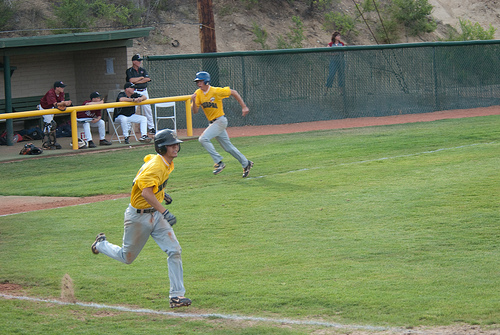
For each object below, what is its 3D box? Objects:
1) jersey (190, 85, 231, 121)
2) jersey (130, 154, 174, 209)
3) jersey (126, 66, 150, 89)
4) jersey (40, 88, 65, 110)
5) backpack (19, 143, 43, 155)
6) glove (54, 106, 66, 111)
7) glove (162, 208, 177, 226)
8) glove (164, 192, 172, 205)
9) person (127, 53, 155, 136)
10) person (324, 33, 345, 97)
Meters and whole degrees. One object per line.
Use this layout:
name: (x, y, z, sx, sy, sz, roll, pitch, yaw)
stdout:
jersey: (-1.006, -1.673, 26.141, 1.026, 0.698, 0.478, -3, 2, -2)
jersey: (-2.063, 0.299, 20.840, 0.830, 1.166, 1.352, 8, 14, -3)
jersey: (-3.537, -2.826, 31.745, 0.866, 0.723, 0.494, -13, 17, -36)
jersey: (-5.977, -2.073, 30.455, 0.697, 0.541, 0.611, -3, 2, -2)
backpack: (-6.438, -0.554, 29.915, 0.414, 0.193, 0.466, -4, 6, -39)
glove: (-5.609, -1.753, 30.009, 0.327, 0.116, 0.461, -3, 2, -10)
glove: (-1.630, 1.008, 20.549, 0.200, 0.382, 0.177, -50, 1, 30)
glove: (-1.691, 0.667, 21.070, 0.194, 0.211, 0.074, 16, 18, 23)
person: (-3.521, -2.308, 31.988, 0.973, 2.453, 0.829, -11, 5, -30)
person: (2.818, -3.572, 34.800, 0.733, 1.543, 1.241, -4, 2, 5)
